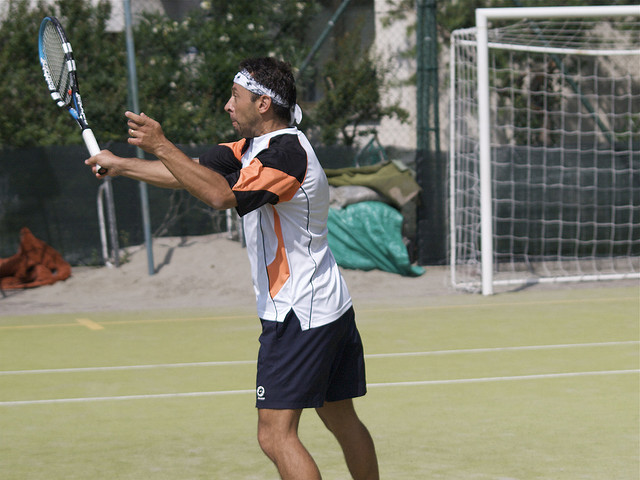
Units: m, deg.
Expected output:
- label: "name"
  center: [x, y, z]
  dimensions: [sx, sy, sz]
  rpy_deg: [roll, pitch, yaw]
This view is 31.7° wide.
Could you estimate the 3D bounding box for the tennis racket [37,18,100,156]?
- label: "tennis racket"
  center: [-2.375, -1.520, 11.324]
  dimensions: [0.176, 1.943, 0.529]
  rpy_deg: [2, -37, -42]
